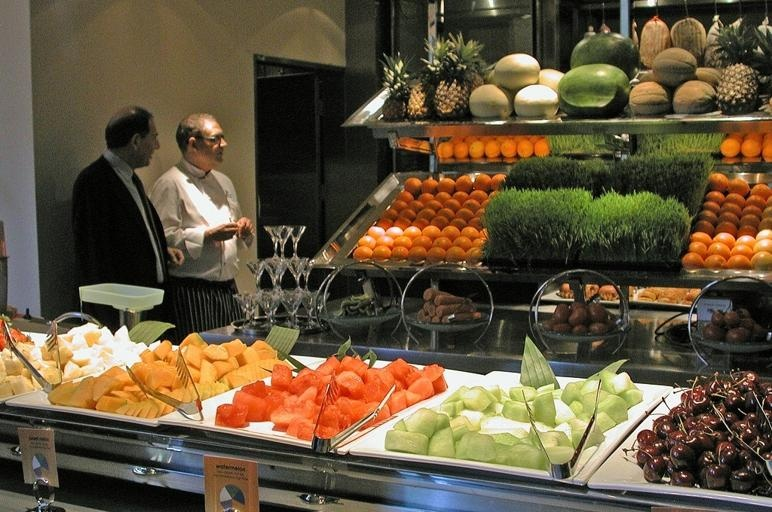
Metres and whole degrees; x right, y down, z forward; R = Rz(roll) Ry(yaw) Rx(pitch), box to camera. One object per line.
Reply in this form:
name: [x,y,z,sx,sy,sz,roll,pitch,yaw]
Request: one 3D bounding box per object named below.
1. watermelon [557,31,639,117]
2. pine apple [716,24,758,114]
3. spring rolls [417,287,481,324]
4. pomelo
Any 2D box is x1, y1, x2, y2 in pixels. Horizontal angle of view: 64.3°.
watermelon: [0.895,-0.738,2.550,0.283,0.382,0.280,-6,27,-30]
pine apple: [1.366,-0.720,2.396,0.150,0.349,0.137,-10,12,-24]
spring rolls: [0.256,0.203,2.521,0.220,0.095,0.131,3,35,-14]
pomelo: [0.568,-0.710,2.667,0.286,0.300,0.426,5,14,21]
